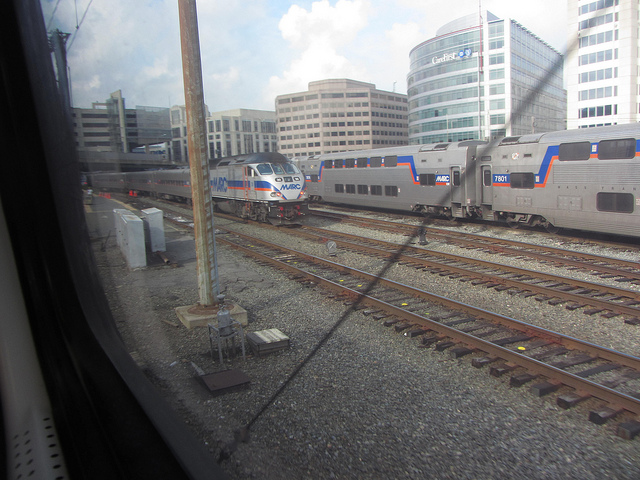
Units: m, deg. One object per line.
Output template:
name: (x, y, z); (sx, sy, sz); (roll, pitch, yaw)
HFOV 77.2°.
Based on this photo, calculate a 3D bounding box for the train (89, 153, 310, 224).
train: (-9.335, -3.948, 28.308); (23.050, 3.481, 2.971); (9, 13, 44)

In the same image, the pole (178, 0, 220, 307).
pole: (-2.301, -1.446, 7.606); (0.530, 5.887, 0.621); (-7, 12, -16)
